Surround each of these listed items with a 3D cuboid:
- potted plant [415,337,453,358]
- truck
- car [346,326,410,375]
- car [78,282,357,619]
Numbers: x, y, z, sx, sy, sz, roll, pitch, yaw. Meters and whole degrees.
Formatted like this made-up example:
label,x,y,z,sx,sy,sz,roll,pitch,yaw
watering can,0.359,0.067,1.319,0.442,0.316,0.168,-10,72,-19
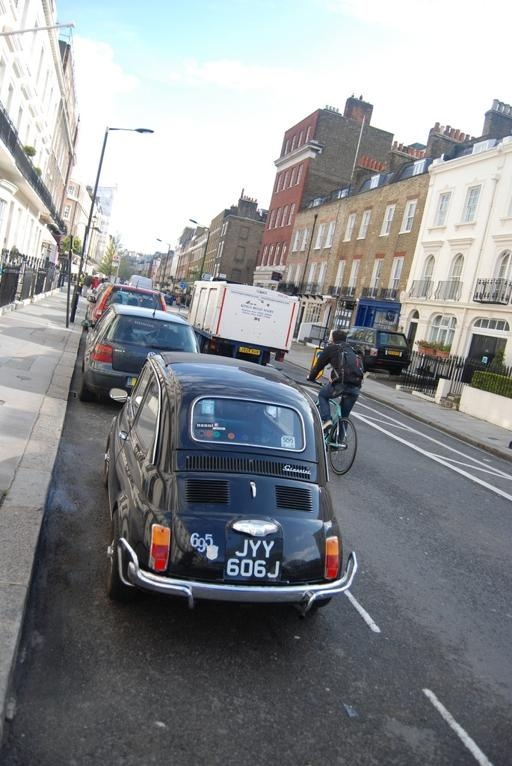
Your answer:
label,x,y,z,sx,sy,sz,roll,pitch,yaw
potted plant,11.481,-2.230,27.276,1.898,1.174,1.798,7,-4,31
truck,-0.895,-2.536,17.290,2.651,2.678,4.475,8,14,-20
car,6.730,-1.738,22.988,2.037,2.306,4.693,2,14,-13
car,-0.311,0.632,2.984,1.401,1.693,1.883,10,-4,-43
